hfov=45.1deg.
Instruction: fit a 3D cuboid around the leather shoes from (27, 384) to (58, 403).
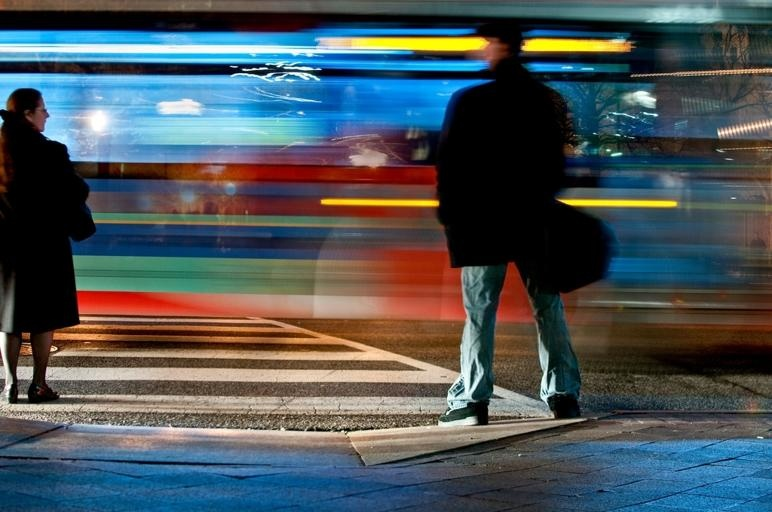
[{"bbox_3d":[-3.195,1.276,8.624,0.181,0.090,0.316,17,9,34],"label":"leather shoes"}]
